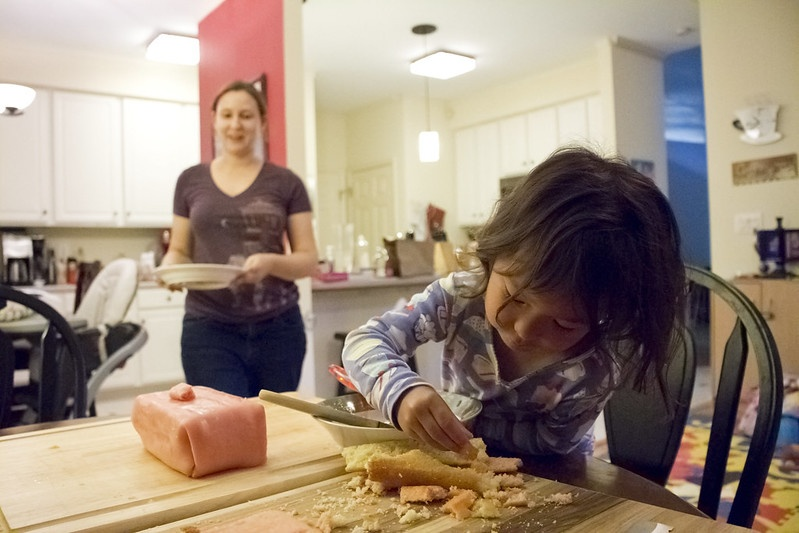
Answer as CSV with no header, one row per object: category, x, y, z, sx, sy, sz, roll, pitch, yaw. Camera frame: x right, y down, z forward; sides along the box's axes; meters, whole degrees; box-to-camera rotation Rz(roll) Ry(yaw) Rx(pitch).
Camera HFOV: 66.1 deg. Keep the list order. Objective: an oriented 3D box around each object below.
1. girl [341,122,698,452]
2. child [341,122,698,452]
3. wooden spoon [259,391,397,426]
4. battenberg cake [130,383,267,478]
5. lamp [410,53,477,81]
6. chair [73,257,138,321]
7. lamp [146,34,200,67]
girl,0.240,0.092,1.345,0.652,0.693,0.433,-4,11,-26
child,0.240,0.092,1.345,0.652,0.693,0.433,-4,11,-26
wooden spoon,-0.163,0.318,1.366,0.285,0.047,0.032,15,40,3
battenberg cake,-0.443,0.349,1.356,0.209,0.151,0.289,-2,4,-42
lamp,0.386,-1.760,5.284,0.463,0.208,0.497,4,9,16
chair,-1.639,0.162,3.456,0.298,0.383,0.700,-4,10,-29
lamp,-1.834,-1.753,4.965,0.381,0.186,0.518,-3,10,-23
